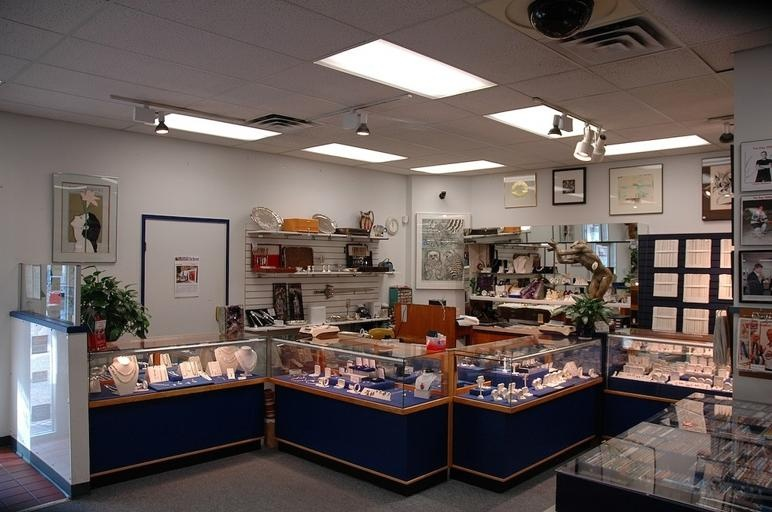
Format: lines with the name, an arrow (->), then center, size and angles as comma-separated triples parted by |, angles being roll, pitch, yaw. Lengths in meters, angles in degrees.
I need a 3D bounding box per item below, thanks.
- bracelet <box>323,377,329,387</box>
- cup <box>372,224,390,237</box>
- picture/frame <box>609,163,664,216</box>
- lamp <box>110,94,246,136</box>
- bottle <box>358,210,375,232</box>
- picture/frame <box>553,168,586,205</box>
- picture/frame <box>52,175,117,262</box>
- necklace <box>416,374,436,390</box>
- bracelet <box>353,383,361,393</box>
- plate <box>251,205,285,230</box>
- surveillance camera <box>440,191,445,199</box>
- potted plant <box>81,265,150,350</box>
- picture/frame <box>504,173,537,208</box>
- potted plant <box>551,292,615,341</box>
bracelet -> -0.707, 1.481, 6.104 | 0.090, 0.099, 0.079 | -6, -9, 43
cup -> -0.127, -0.472, 10.004 | 0.256, 0.165, 0.244 | -1, -4, 0
picture/frame -> 4.245, -1.129, 8.814 | 0.998, 0.956, 0.044 | 1, -2, 40
lamp -> -2.525, -1.797, 6.421 | 1.572, 0.239, 0.317 | -4, 2, -35
bottle -> -0.384, -0.657, 9.789 | 0.204, 0.402, 0.445 | -2, 2, 13
picture/frame -> 3.334, -1.267, 9.470 | 0.762, 0.807, 0.060 | 0, -5, 41
picture/frame -> -4.052, -0.481, 7.027 | 0.813, 1.117, 0.110 | -4, 2, -38
necklace -> 0.403, 1.331, 5.519 | 0.173, 0.091, 0.175 | -4, -5, 11
bracelet -> -0.334, 1.485, 5.823 | 0.075, 0.098, 0.038 | -5, -8, 24
plate -> -1.912, -0.603, 8.446 | 0.494, 0.275, 0.268 | -4, 2, -37
surveillance camera -> 1.138, -1.225, 10.471 | 0.133, 0.126, 0.134 | -1, -1, 44
potted plant -> -3.209, 0.601, 6.151 | 0.673, 0.751, 0.411 | -4, 2, -27
picture/frame -> 2.598, -1.275, 10.040 | 0.739, 0.665, 0.076 | 2, -1, 39
potted plant -> 2.544, 0.776, 6.814 | 0.630, 0.385, 0.585 | -1, 1, 7
